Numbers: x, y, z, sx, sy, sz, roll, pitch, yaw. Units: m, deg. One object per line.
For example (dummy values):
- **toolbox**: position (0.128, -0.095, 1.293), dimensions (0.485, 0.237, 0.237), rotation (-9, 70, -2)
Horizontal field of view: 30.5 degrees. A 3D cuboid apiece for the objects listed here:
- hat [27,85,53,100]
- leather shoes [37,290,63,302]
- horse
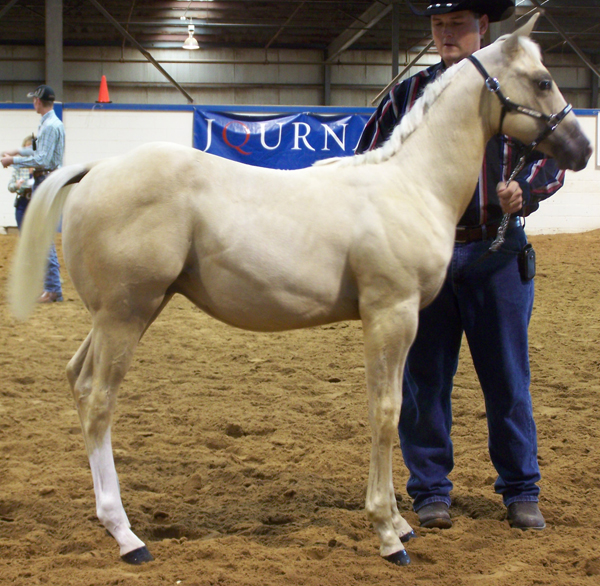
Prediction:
- **hat**: position (-2.226, -1.670, 9.272), dimensions (0.251, 0.132, 0.165), rotation (5, 18, 18)
- **leather shoes**: position (-1.960, 0.020, 8.572), dimensions (0.179, 0.114, 0.059), rotation (10, 7, -31)
- **horse**: position (-0.047, -0.039, 4.983), dimensions (2.461, 2.427, 0.866), rotation (-3, 16, -16)
